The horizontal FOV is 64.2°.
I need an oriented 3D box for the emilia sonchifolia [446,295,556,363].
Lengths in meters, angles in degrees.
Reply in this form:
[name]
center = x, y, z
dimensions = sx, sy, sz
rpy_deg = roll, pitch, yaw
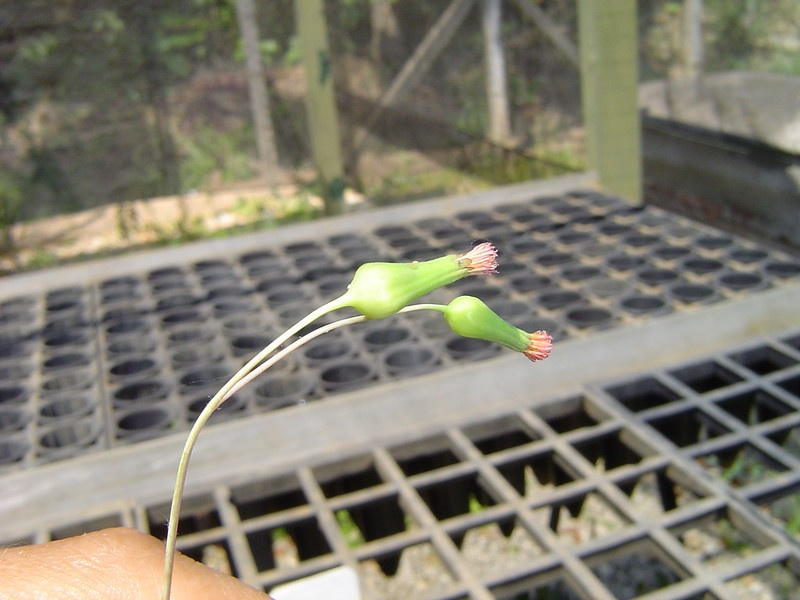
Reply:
[emilia sonchifolia]
center = 0.076, 0.038, 0.547
dimensions = 0.104, 0.034, 0.039
rpy_deg = 29, 12, -18
